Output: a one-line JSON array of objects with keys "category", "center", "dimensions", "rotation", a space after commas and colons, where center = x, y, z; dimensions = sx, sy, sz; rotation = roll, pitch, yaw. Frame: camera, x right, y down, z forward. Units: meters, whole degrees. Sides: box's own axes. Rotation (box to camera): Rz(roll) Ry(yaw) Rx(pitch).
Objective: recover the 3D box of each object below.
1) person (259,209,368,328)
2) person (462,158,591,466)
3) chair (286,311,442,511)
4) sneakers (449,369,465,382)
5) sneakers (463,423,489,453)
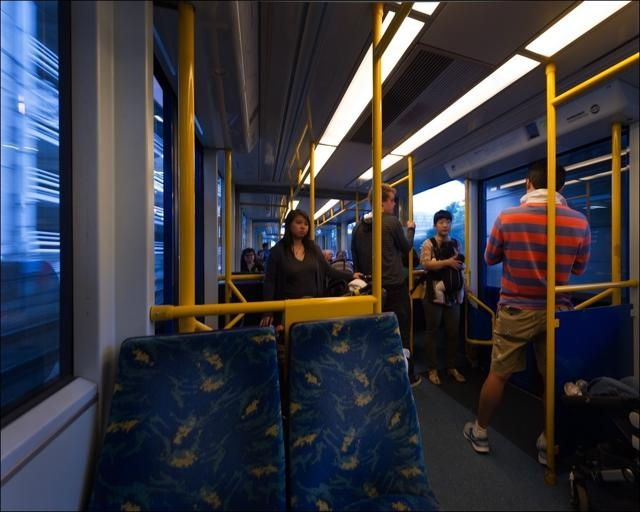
[{"category": "person", "center": [-0.086, 0.216, 3.524], "dimensions": [0.676, 1.277, 0.347], "rotation": [0, 39, -2]}, {"category": "person", "center": [1.210, 0.314, 2.827], "dimensions": [0.728, 1.752, 0.410], "rotation": [-1, 1, 28]}, {"category": "chair", "center": [0.143, 0.770, 2.480], "dimensions": [0.597, 1.073, 0.772], "rotation": [1, -11, -13]}, {"category": "sneakers", "center": [1.132, 0.972, 3.863], "dimensions": [0.054, 0.127, 0.114], "rotation": [3, -13, -28]}, {"category": "sneakers", "center": [0.953, 1.102, 2.904], "dimensions": [0.077, 0.152, 0.222], "rotation": [1, 5, -2]}]
